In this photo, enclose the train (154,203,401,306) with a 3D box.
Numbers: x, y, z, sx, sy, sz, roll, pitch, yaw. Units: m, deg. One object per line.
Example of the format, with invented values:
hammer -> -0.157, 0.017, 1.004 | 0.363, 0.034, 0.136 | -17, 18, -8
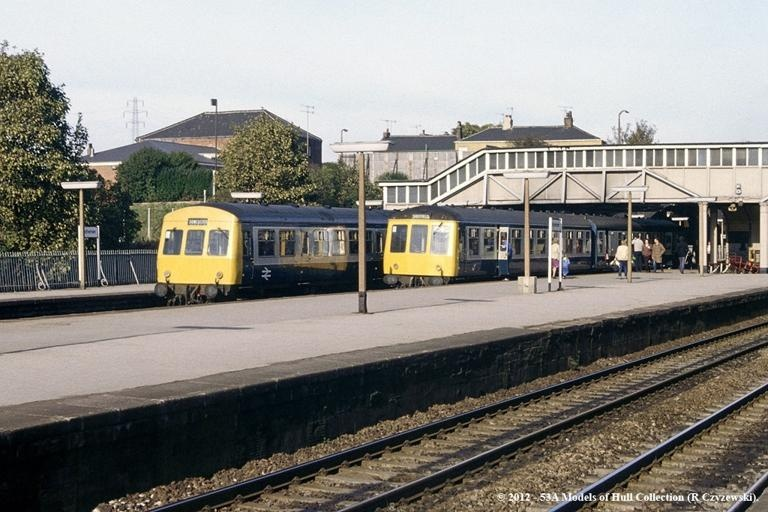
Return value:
train -> -4.037, -0.015, 32.000 | 2.951, 3.399, 12.262 | -1, -3, 30
